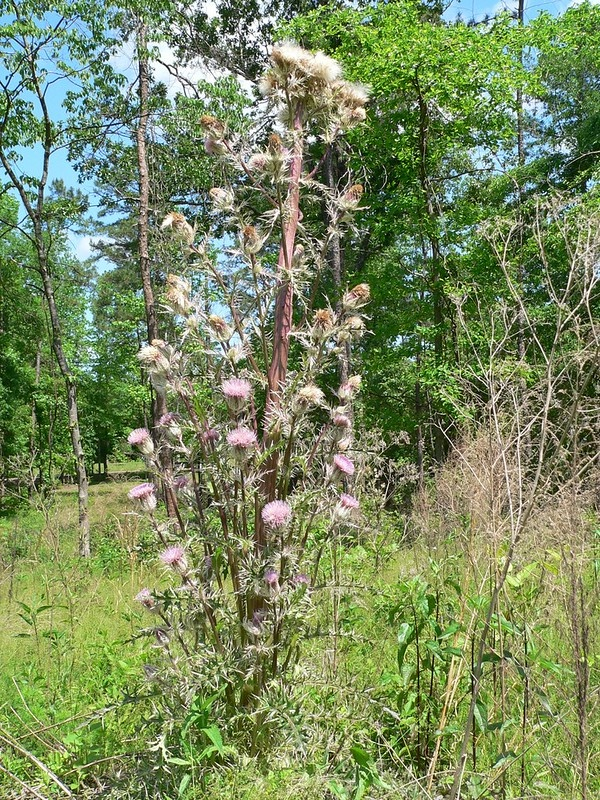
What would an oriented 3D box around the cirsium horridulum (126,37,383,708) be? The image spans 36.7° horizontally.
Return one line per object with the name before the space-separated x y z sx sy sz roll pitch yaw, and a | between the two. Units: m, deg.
cirsium horridulum | -0.212 -0.136 4.279 1.147 3.188 1.915 -2 3 -1
